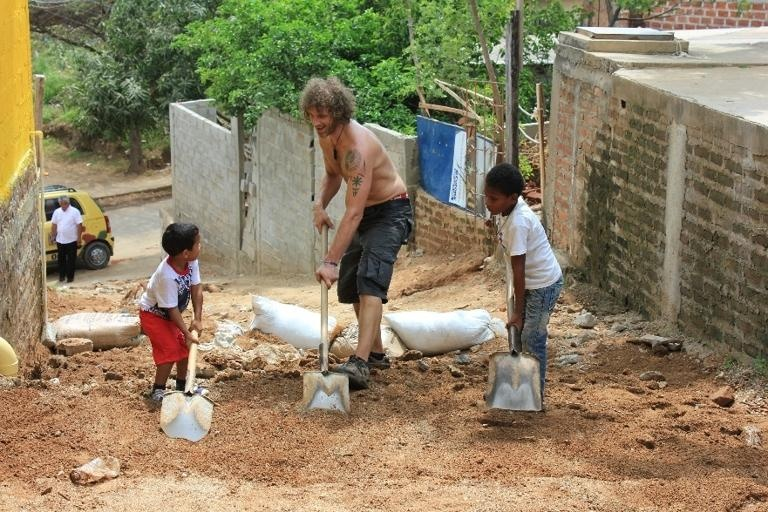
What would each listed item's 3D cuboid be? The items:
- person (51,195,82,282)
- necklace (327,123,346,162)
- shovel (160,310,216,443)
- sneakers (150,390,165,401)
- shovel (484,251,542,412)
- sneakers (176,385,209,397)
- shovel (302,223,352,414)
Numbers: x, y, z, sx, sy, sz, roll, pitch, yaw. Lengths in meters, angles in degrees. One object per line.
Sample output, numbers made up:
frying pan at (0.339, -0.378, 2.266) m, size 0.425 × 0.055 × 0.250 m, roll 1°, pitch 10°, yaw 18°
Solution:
person at (-5.795, -0.298, 21.441) m, size 0.527 × 1.817 × 1.061 m, roll -6°, pitch 15°, yaw -17°
necklace at (-0.467, -1.130, 11.557) m, size 0.064 × 0.278 × 0.149 m, roll -8°, pitch 18°, yaw -35°
shovel at (-1.751, 1.068, 10.623) m, size 0.437 × 1.339 × 0.222 m, roll 7°, pitch 35°, yaw -6°
sneakers at (-2.184, 1.333, 11.283) m, size 0.097 × 0.063 × 0.170 m, roll 0°, pitch 23°, yaw -1°
shovel at (1.261, 0.783, 11.355) m, size 0.758 × 1.594 × 0.345 m, roll -1°, pitch -1°, yaw 7°
sneakers at (-1.778, 1.275, 11.095) m, size 0.228 × 0.112 × 0.090 m, roll -3°, pitch -1°, yaw 21°
shovel at (-0.568, 0.884, 11.197) m, size 0.458 × 1.132 × 0.505 m, roll -2°, pitch 14°, yaw -2°
